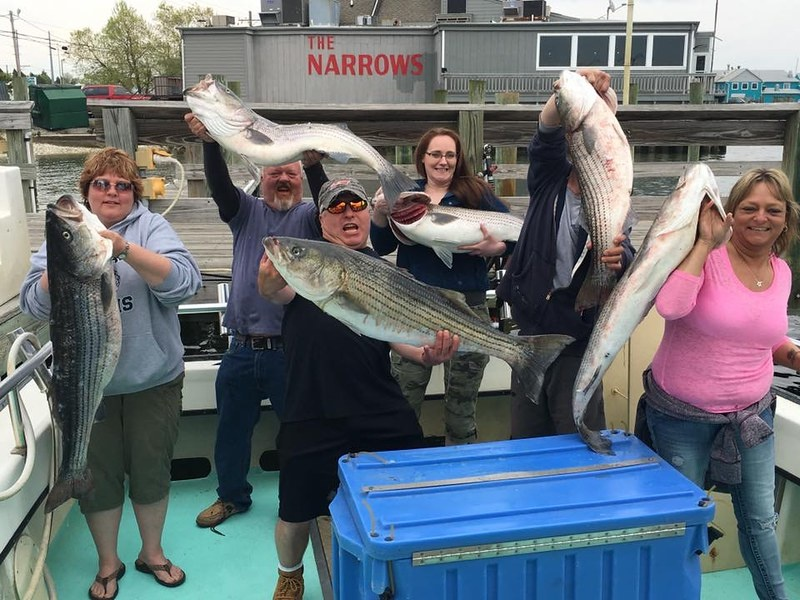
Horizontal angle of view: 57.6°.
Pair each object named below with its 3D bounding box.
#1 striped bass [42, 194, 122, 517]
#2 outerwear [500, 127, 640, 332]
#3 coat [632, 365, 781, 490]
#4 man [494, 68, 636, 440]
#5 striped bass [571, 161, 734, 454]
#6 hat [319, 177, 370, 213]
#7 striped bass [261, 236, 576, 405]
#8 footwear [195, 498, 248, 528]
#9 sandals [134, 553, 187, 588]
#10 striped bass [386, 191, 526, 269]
[{"bbox_3d":[-1.439,0.234,3.236,0.400,1.383,0.211,-8,17,-24],"label":"striped bass"},{"bbox_3d":[0.837,-0.171,3.903,0.608,1.389,0.424,-8,-10,33],"label":"outerwear"},{"bbox_3d":[1.418,0.580,3.405,0.543,0.423,0.526,-14,19,-24],"label":"coat"},{"bbox_3d":[0.799,-0.119,3.701,0.719,2.286,0.513,-2,-8,19],"label":"man"},{"bbox_3d":[1.142,0.079,3.320,0.525,1.415,0.359,33,8,37],"label":"striped bass"},{"bbox_3d":[-0.272,-0.488,3.422,0.217,0.154,0.317,-3,17,-8],"label":"hat"},{"bbox_3d":[0.080,0.101,3.539,1.522,0.500,0.345,21,14,-16],"label":"striped bass"},{"bbox_3d":[-1.088,1.302,4.450,0.298,0.135,0.110,-2,8,-42],"label":"footwear"},{"bbox_3d":[-1.284,1.450,3.927,0.234,0.069,0.122,8,9,31],"label":"sandals"},{"bbox_3d":[0.408,-0.401,4.237,1.034,0.411,0.298,7,0,-18],"label":"striped bass"}]
